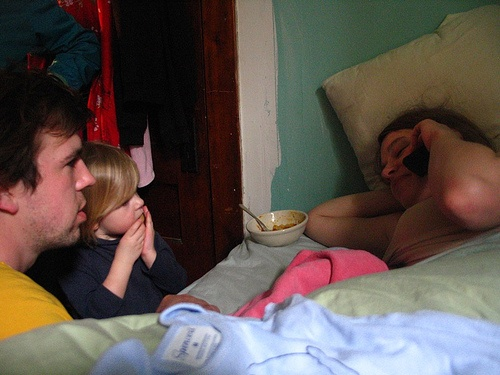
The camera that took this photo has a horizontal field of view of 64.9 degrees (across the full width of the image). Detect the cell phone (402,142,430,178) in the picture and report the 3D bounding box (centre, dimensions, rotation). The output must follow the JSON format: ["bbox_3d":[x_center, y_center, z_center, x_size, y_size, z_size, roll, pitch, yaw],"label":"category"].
[{"bbox_3d":[0.520,-0.078,1.227,0.018,0.082,0.078,5,-31,-23],"label":"cell phone"}]

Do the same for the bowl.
[{"bbox_3d":[0.162,0.163,1.694,0.207,0.079,0.209,19,-16,6],"label":"bowl"}]
